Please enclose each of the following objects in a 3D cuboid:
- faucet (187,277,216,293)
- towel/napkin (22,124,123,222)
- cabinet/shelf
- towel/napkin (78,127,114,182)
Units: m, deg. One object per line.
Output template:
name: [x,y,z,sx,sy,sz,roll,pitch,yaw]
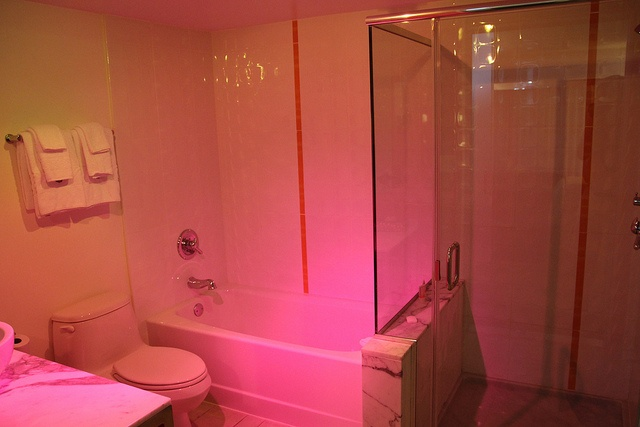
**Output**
faucet: [-1.026,0.598,4.053,0.171,0.069,0.131,0,4,-39]
towel/napkin: [-1.795,-0.330,3.353,0.266,0.591,0.688,2,10,25]
cabinet/shelf: [0.723,0.828,2.846,0.240,0.762,0.656,7,-14,31]
towel/napkin: [-1.615,-0.441,3.374,0.098,0.341,0.245,2,5,36]
